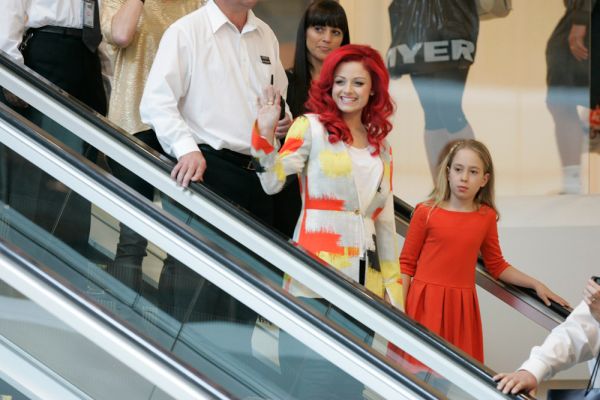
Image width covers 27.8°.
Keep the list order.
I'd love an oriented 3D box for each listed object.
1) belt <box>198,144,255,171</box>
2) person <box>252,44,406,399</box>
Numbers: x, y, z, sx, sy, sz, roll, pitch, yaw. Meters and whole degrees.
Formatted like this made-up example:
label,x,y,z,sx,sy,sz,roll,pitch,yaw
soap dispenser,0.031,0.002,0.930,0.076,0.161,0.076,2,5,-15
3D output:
label,x,y,z,sx,sy,sz,roll,pitch,yaw
belt,-0.375,-0.237,6.571,0.226,0.073,0.165,23,10,14
person,0.173,-0.131,6.412,0.790,1.320,0.504,0,15,-1
